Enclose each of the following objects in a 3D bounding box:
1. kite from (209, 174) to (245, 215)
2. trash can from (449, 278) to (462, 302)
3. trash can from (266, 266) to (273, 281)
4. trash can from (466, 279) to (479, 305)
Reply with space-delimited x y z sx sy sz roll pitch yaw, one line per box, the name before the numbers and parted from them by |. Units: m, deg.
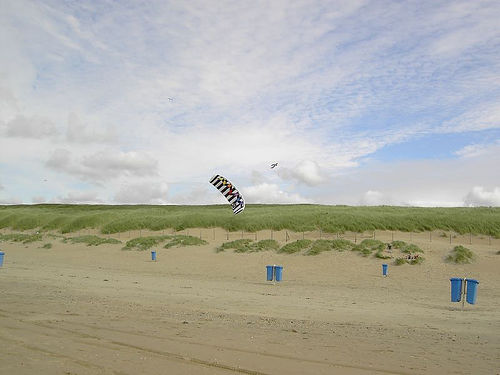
kite | -1.669 0.599 31.612 1.316 2.519 2.283 -3 1 -29
trash can | 8.943 4.456 16.749 0.413 0.990 0.521 -2 1 12
trash can | 1.118 4.763 21.463 0.380 0.608 0.254 -2 1 -12
trash can | 9.362 4.451 16.379 0.423 1.098 0.568 -2 1 26
